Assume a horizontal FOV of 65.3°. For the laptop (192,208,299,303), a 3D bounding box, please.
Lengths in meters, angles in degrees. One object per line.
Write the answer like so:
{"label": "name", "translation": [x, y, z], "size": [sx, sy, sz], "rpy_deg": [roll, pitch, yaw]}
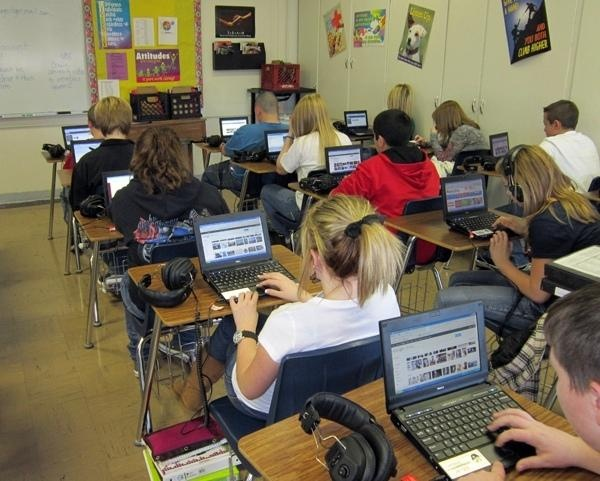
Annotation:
{"label": "laptop", "translation": [-0.227, -0.036, 1.985], "size": [0.395, 0.266, 0.384], "rpy_deg": [-13, 38, -31]}

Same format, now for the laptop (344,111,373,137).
{"label": "laptop", "translation": [0.800, -1.645, 6.509], "size": [0.434, 0.388, 0.322], "rpy_deg": [-8, 18, -24]}

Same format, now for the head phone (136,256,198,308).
{"label": "head phone", "translation": [-0.563, 0.166, 1.938], "size": [0.156, 0.107, 0.220], "rpy_deg": [18, 31, 11]}

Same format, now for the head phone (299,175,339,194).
{"label": "head phone", "translation": [0.140, -0.431, 3.573], "size": [0.174, 0.060, 0.186], "rpy_deg": [21, 38, 38]}

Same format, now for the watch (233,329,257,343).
{"label": "watch", "translation": [-0.192, 0.339, 1.671], "size": [0.068, 0.069, 0.045], "rpy_deg": [-7, 51, 36]}

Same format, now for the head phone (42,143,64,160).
{"label": "head phone", "translation": [-2.420, -0.870, 4.638], "size": [0.188, 0.151, 0.339], "rpy_deg": [-5, 17, -41]}

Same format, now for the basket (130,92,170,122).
{"label": "basket", "translation": [-2.008, -1.863, 6.317], "size": [0.502, 0.405, 0.395], "rpy_deg": [-11, 21, -33]}

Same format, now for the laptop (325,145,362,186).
{"label": "laptop", "translation": [0.350, -0.642, 3.858], "size": [0.366, 0.308, 0.234], "rpy_deg": [-13, 20, -33]}

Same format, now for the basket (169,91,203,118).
{"label": "basket", "translation": [-1.574, -1.854, 6.530], "size": [0.584, 0.451, 0.330], "rpy_deg": [-15, 22, -40]}

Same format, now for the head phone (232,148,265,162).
{"label": "head phone", "translation": [-0.510, -0.843, 4.700], "size": [0.209, 0.083, 0.162], "rpy_deg": [4, 20, -1]}

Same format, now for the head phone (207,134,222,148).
{"label": "head phone", "translation": [-1.005, -1.174, 5.579], "size": [0.180, 0.144, 0.144], "rpy_deg": [-2, 46, -23]}

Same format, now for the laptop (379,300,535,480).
{"label": "laptop", "translation": [0.382, 0.406, 1.305], "size": [0.360, 0.273, 0.392], "rpy_deg": [-10, 33, -24]}

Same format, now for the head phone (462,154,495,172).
{"label": "head phone", "translation": [1.676, -0.724, 4.443], "size": [0.238, 0.103, 0.249], "rpy_deg": [-1, 19, -6]}

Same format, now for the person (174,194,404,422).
{"label": "person", "translation": [-0.065, 0.209, 1.756], "size": [0.543, 0.821, 0.817], "rpy_deg": [-12, 22, -28]}

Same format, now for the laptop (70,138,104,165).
{"label": "laptop", "translation": [-1.689, -0.707, 3.740], "size": [0.255, 0.189, 0.190], "rpy_deg": [-21, 26, -40]}

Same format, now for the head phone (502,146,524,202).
{"label": "head phone", "translation": [1.087, -0.340, 2.422], "size": [0.084, 0.247, 0.182], "rpy_deg": [-10, 6, 32]}

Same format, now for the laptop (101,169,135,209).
{"label": "laptop", "translation": [-1.106, -0.310, 2.861], "size": [0.227, 0.230, 0.180], "rpy_deg": [-14, 21, -35]}

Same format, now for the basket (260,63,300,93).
{"label": "basket", "translation": [-0.309, -2.512, 7.226], "size": [0.488, 0.390, 0.493], "rpy_deg": [12, 20, 34]}

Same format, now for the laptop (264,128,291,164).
{"label": "laptop", "translation": [-0.249, -0.987, 4.973], "size": [0.378, 0.311, 0.321], "rpy_deg": [-8, 5, -18]}
